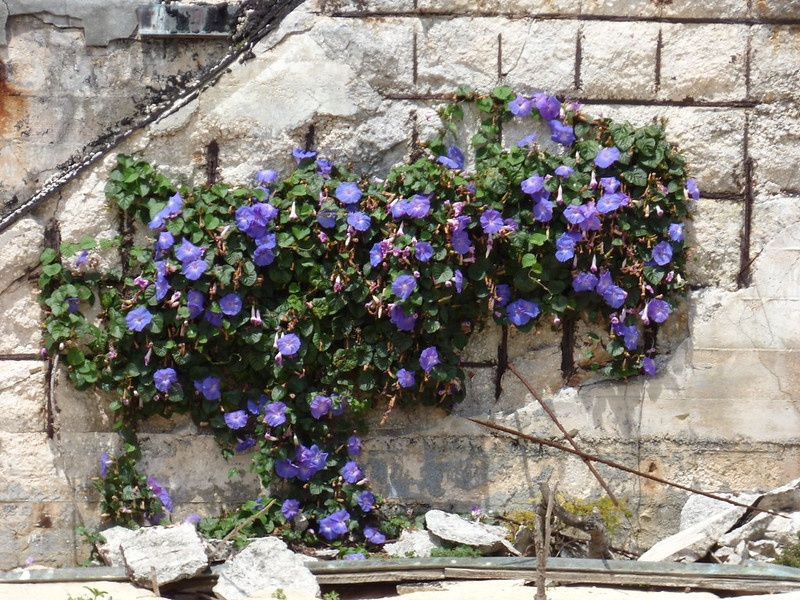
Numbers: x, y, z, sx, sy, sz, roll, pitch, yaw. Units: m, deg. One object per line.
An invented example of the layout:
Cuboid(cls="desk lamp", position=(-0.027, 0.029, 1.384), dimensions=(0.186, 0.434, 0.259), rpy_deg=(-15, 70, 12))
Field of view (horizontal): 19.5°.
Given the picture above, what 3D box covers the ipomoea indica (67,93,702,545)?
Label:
Cuboid(cls="ipomoea indica", position=(-0.134, 0.075, 14.942), dimensions=(3.130, 2.876, 1.166), rpy_deg=(18, -2, 1))
